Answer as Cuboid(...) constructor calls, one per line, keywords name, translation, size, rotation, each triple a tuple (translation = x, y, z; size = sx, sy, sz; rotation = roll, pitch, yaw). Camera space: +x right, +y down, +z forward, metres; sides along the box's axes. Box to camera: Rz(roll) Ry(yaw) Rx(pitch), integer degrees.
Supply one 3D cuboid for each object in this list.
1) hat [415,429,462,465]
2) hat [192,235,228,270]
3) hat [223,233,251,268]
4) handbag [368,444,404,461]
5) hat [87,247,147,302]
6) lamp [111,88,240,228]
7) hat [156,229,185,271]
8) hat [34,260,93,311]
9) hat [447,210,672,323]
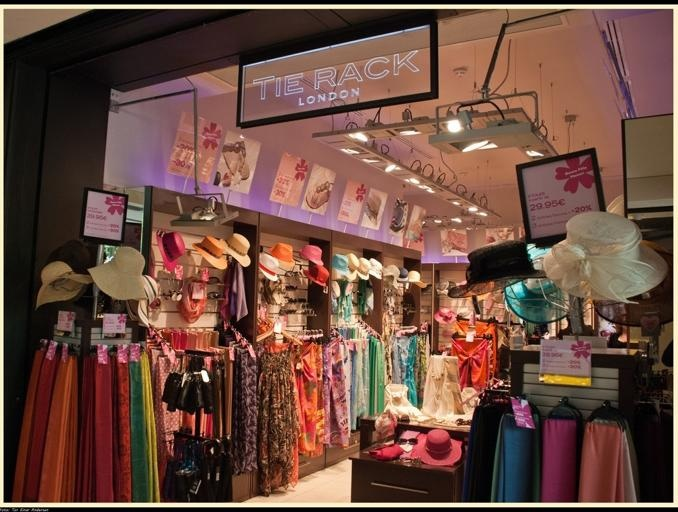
Cuboid(name="hat", translation=(0.941, 1.816, 4.928), size=(0.473, 0.280, 0.365), rotation=(-3, -10, 13))
Cuboid(name="hat", translation=(-1.550, -0.060, 6.112), size=(0.394, 0.406, 0.292), rotation=(-4, -10, 19))
Cuboid(name="hat", translation=(-1.218, -0.088, 6.204), size=(0.160, 0.375, 0.326), rotation=(-46, 0, 34))
Cuboid(name="handbag", translation=(0.457, 1.906, 5.029), size=(0.313, 0.096, 0.380), rotation=(-8, -13, 33))
Cuboid(name="hat", translation=(-1.824, 0.194, 4.302), size=(0.394, 0.234, 0.443), rotation=(39, 12, -27))
Cuboid(name="lamp", translation=(-1.720, -0.992, 5.390), size=(1.065, 1.343, 0.531), rotation=(-3, 12, 6))
Cuboid(name="hat", translation=(-1.869, -0.065, 5.670), size=(0.285, 0.443, 0.323), rotation=(3, -11, -23))
Cuboid(name="hat", translation=(-2.299, 0.241, 4.319), size=(0.421, 0.363, 0.298), rotation=(4, -11, -26))
Cuboid(name="hat", translation=(1.478, 0.084, 3.446), size=(0.605, 0.658, 1.139), rotation=(8, -13, -41))
